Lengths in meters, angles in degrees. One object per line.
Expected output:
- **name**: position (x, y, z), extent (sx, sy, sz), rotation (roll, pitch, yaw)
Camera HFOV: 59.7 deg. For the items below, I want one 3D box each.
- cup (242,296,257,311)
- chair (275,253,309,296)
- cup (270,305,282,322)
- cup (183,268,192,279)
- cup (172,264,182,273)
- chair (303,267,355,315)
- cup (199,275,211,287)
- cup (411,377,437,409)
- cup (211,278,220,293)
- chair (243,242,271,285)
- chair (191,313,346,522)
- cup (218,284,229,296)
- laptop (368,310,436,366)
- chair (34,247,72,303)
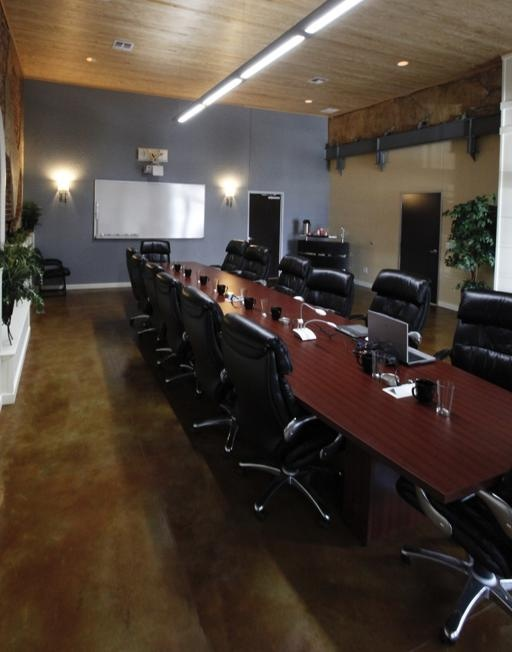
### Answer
- **cup**: position (-0.049, -0.183, 3.748), extent (0.107, 0.101, 0.088), rotation (-12, 21, -33)
- **chair**: position (0.408, -0.559, 4.944), extent (0.439, 0.524, 0.328), rotation (-7, 13, -40)
- **cup**: position (0.152, -0.094, 3.334), extent (0.083, 0.095, 0.095), rotation (1, -2, -8)
- **cup**: position (-0.866, -0.649, 5.553), extent (0.115, 0.164, 0.166), rotation (3, 12, 10)
- **cup**: position (-1.071, -0.779, 6.000), extent (0.131, 0.153, 0.144), rotation (-1, 1, -36)
- **chair**: position (0.709, -0.323, 4.181), extent (0.385, 0.587, 0.436), rotation (13, 6, 43)
- **cup**: position (-0.592, -0.501, 5.051), extent (0.097, 0.132, 0.126), rotation (7, 16, 20)
- **cup**: position (0.710, 0.293, 1.865), extent (0.080, 0.090, 0.104), rotation (-1, 1, -19)
- **cup**: position (-0.452, -0.428, 4.853), extent (0.123, 0.179, 0.171), rotation (0, -2, 4)
- **chair**: position (0.086, -0.858, 6.050), extent (0.492, 0.631, 0.399), rotation (-4, 10, -41)
- **chair**: position (0.131, 0.355, 2.019), extent (0.528, 0.825, 0.587), rotation (0, 16, -7)
- **cup**: position (-0.341, -0.347, 4.417), extent (0.088, 0.125, 0.110), rotation (1, 7, -24)
- **laptop**: position (0.785, 0.047, 2.349), extent (0.215, 0.242, 0.315), rotation (-10, 16, -17)
- **chair**: position (-3.738, -1.009, 8.121), extent (0.579, 0.879, 0.476), rotation (-5, 17, -32)
